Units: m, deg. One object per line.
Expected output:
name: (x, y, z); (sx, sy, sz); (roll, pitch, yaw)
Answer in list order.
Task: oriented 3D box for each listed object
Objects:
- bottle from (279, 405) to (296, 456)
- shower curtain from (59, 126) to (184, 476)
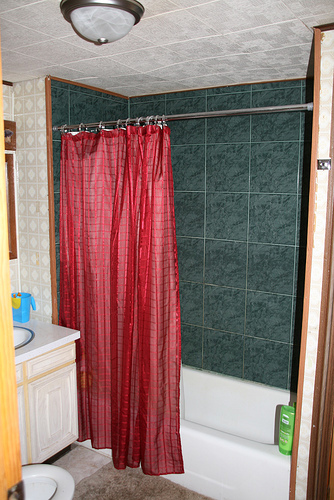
bottle: (0.557, 0.864, 1.884); (0.059, 0.245, 0.199); (3, 10, 16)
shower curtain: (-0.264, 0.276, 2.198); (0.853, 1.833, 0.240); (9, 12, 41)
